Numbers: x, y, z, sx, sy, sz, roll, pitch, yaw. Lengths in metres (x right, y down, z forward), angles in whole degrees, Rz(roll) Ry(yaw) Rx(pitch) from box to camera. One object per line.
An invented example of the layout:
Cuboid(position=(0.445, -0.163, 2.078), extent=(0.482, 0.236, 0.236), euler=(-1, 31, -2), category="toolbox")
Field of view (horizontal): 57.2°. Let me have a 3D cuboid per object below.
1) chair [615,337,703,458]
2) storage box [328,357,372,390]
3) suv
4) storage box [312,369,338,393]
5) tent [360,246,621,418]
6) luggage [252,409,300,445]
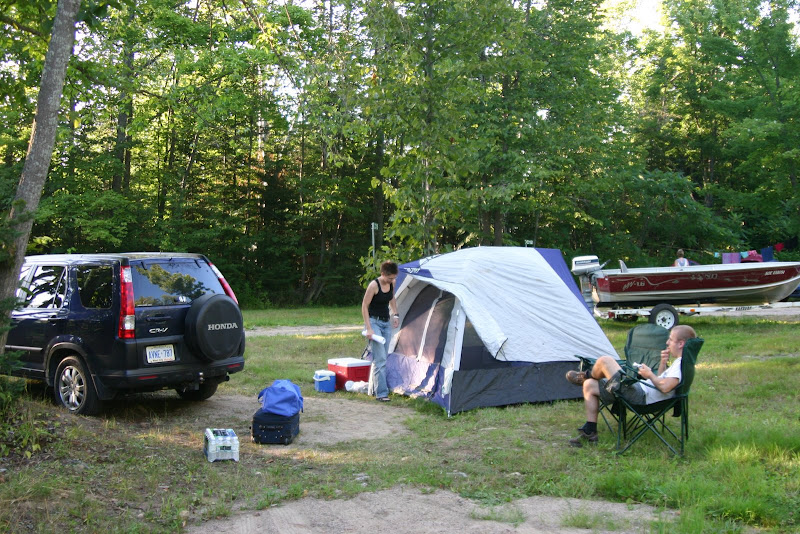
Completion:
Cuboid(position=(3.654, 1.753, 10.697), extent=(1.281, 1.655, 1.163), euler=(-3, 4, 4), category="chair")
Cuboid(position=(-0.946, 1.945, 13.968), extent=(0.570, 0.443, 0.724), euler=(-1, 1, -29), category="storage box")
Cuboid(position=(-4.332, 0.984, 11.491), extent=(3.410, 2.372, 1.437), euler=(0, 12, 8), category="suv")
Cuboid(position=(-1.437, 2.135, 13.740), extent=(0.396, 0.404, 0.376), euler=(-1, 1, -12), category="storage box")
Cuboid(position=(1.820, 1.003, 12.893), extent=(3.372, 1.394, 3.300), euler=(-1, 3, -20), category="tent")
Cuboid(position=(-1.964, 2.406, 11.215), extent=(0.645, 0.444, 0.837), euler=(2, -4, -5), category="luggage")
